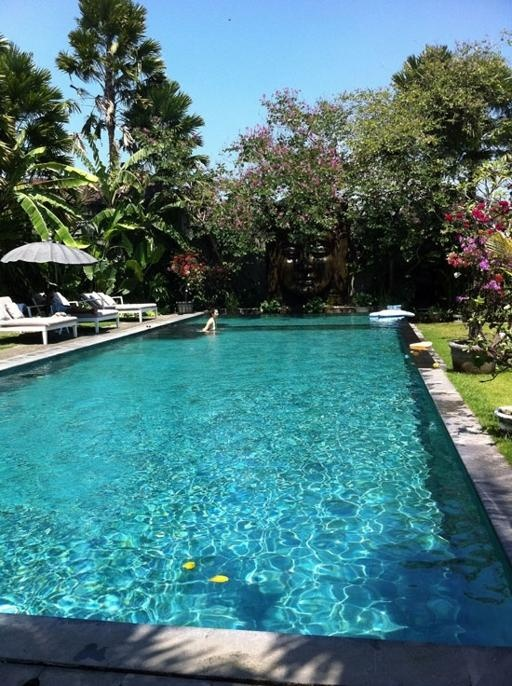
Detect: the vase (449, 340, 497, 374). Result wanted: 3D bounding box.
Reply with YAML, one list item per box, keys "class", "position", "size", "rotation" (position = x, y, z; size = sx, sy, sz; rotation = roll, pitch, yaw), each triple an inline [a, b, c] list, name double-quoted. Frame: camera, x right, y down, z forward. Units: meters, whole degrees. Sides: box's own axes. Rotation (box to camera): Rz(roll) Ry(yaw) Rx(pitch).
- class: "vase"
  position: [2.647, 0.183, 5.940]
  size: [0.425, 0.274, 0.440]
  rotation: [7, 10, 44]
